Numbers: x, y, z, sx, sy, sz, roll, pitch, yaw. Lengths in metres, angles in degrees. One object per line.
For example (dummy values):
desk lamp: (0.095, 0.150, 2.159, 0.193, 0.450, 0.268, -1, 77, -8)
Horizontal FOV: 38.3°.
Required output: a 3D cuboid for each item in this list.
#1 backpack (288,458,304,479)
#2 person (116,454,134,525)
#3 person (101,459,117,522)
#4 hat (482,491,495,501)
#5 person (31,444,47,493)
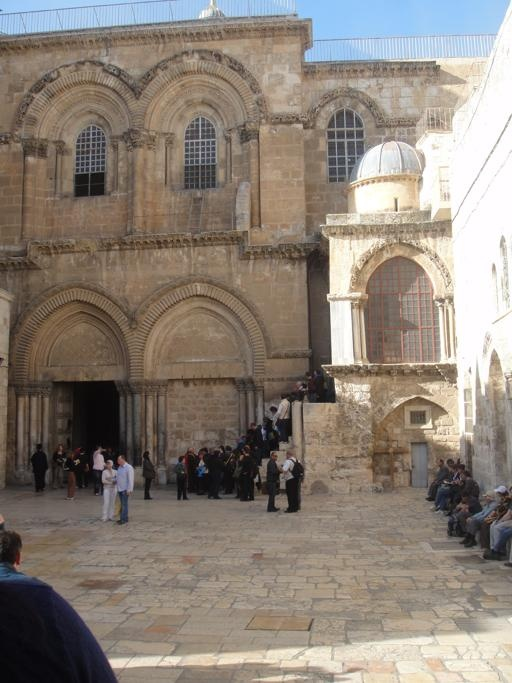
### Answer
backpack: (0.885, 2.782, 15.904, 0.164, 0.440, 0.444, -4, -6, 25)
person: (-2.746, 3.068, 15.442, 0.321, 1.345, 1.903, 0, -6, -11)
person: (-3.008, 3.118, 15.266, 0.284, 1.221, 0.596, 0, -6, -10)
hat: (3.751, 2.533, 11.896, 0.146, 0.162, 0.103, -6, -7, 39)
person: (-6.476, 3.829, 22.148, 0.440, 1.374, 1.744, 0, -6, -17)
